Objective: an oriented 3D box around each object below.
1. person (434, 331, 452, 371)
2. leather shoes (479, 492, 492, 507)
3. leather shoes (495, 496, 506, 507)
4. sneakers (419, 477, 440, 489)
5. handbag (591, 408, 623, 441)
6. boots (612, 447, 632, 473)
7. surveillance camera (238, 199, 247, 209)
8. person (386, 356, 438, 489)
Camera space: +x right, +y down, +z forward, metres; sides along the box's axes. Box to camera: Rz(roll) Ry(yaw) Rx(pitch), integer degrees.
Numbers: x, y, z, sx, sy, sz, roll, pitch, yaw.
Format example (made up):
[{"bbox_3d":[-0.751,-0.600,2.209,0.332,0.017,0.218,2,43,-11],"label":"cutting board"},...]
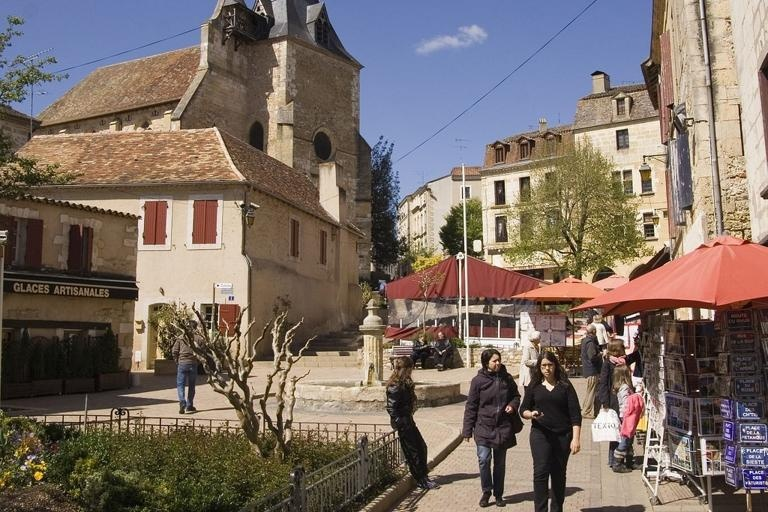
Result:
[{"bbox_3d":[2.039,3.435,29.398,0.570,1.439,1.230,-7,-9,19],"label":"person"},{"bbox_3d":[1.650,3.947,13.194,0.168,0.218,0.330,-12,-12,42],"label":"leather shoes"},{"bbox_3d":[1.870,3.980,13.114,0.160,0.170,0.104,1,-5,12],"label":"leather shoes"},{"bbox_3d":[0.767,3.903,13.941,0.378,0.248,0.144,0,-1,1],"label":"sneakers"},{"bbox_3d":[3.725,2.835,13.696,0.416,0.523,0.554,-7,-9,18],"label":"handbag"},{"bbox_3d":[4.211,3.657,14.439,0.430,0.460,0.267,-1,-1,1],"label":"boots"},{"bbox_3d":[-5.427,-1.949,30.560,0.413,0.407,0.111,12,3,23],"label":"surveillance camera"},{"bbox_3d":[0.405,2.881,14.024,0.726,2.260,0.452,0,-9,-23],"label":"person"}]
